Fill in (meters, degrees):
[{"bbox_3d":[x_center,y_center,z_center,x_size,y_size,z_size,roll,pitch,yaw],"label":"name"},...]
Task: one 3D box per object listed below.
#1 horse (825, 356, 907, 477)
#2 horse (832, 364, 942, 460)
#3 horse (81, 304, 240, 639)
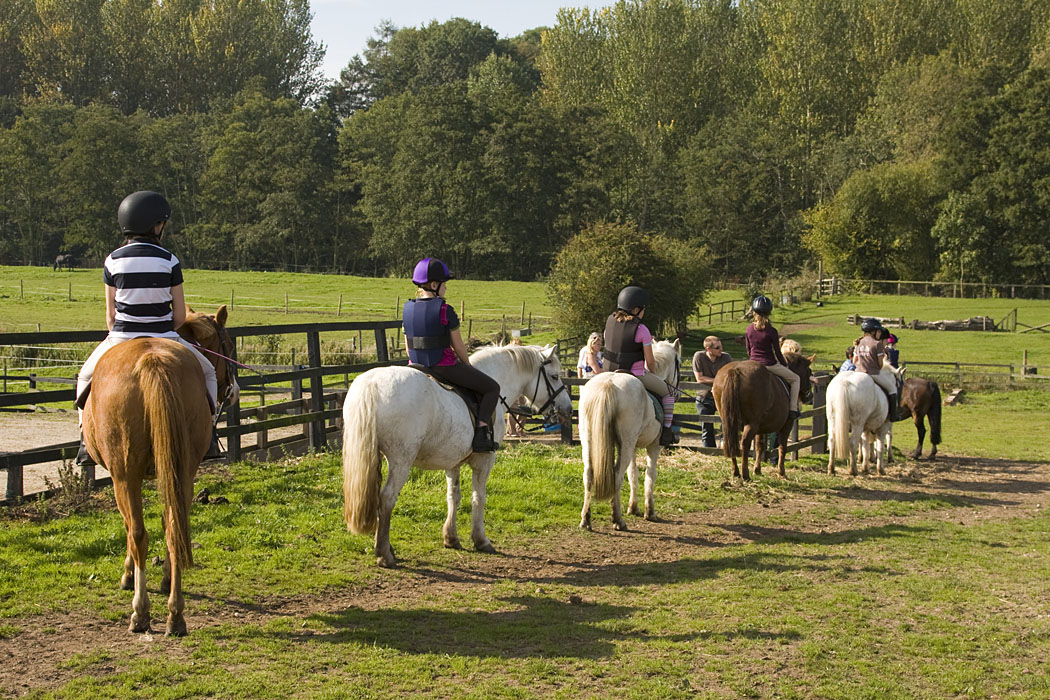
[{"bbox_3d":[16.651,3.574,70.439,3.204,5.227,1.604,-1,1,-27],"label":"horse"},{"bbox_3d":[20.271,3.019,76.096,1.908,5.323,6.696,1,1,-23],"label":"horse"},{"bbox_3d":[-16.185,5.179,62.900,6.653,14.223,5.439,-1,1,-15],"label":"horse"}]
